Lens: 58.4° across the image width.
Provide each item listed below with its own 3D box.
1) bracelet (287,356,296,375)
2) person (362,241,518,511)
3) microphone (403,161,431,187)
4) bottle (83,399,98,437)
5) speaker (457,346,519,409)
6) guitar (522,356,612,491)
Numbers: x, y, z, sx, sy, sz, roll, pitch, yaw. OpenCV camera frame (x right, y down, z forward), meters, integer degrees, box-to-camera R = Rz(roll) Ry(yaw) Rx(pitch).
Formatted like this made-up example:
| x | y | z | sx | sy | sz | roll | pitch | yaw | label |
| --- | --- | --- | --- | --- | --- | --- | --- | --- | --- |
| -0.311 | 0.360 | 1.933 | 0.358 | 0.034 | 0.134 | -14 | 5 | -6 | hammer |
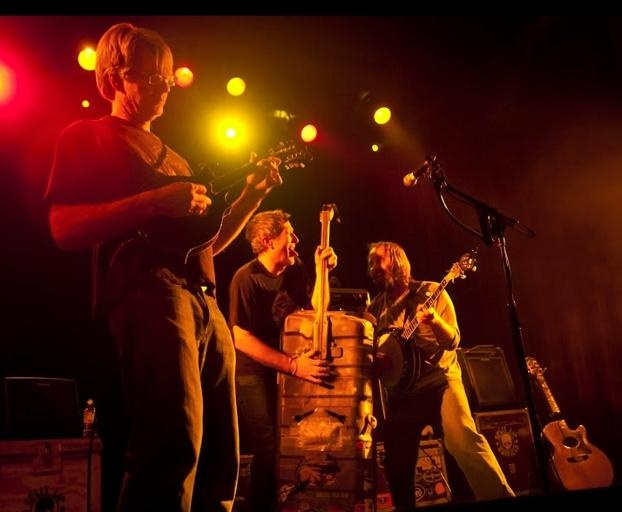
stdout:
| x | y | z | sx | sy | sz | roll | pitch | yaw | label |
| --- | --- | --- | --- | --- | --- | --- | --- | --- | --- |
| -0.111 | 0.655 | 3.295 | 0.047 | 0.091 | 0.022 | 0 | -15 | -9 | bracelet |
| 0.747 | 0.790 | 3.624 | 1.107 | 1.507 | 0.506 | 23 | -39 | -32 | person |
| 0.723 | -0.550 | 3.780 | 0.197 | 0.119 | 0.144 | -10 | -36 | 12 | microphone |
| -1.187 | 0.864 | 2.973 | 0.074 | 0.186 | 0.028 | 11 | -33 | -18 | bottle |
| 1.189 | 0.892 | 3.789 | 0.307 | 0.470 | 0.271 | -1 | -42 | -4 | speaker |
| 1.782 | 1.184 | 3.861 | 0.739 | 0.798 | 0.246 | 28 | -42 | -36 | guitar |
